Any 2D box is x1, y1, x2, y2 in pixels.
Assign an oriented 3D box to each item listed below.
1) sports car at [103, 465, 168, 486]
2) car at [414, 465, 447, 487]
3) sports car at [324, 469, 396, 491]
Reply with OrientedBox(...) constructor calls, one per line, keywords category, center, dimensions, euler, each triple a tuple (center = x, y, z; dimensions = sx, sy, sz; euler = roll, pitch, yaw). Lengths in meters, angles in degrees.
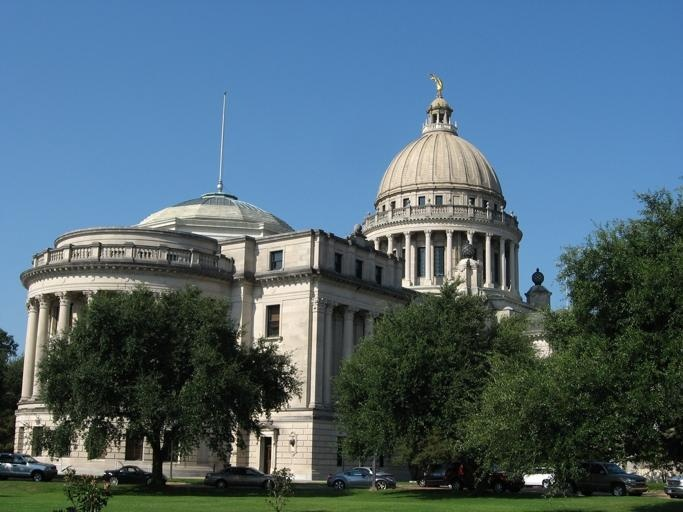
OrientedBox(category="sports car", center=(-13.563, 13.963, 82.811), dimensions=(2.784, 1.326, 2.383), euler=(6, -16, -13))
OrientedBox(category="car", center=(5.857, 14.048, 83.145), dimensions=(0.724, 1.380, 2.628), euler=(11, -18, -28))
OrientedBox(category="sports car", center=(1.258, 14.639, 85.032), dimensions=(3.270, 1.094, 1.774), euler=(-3, -16, 7))
